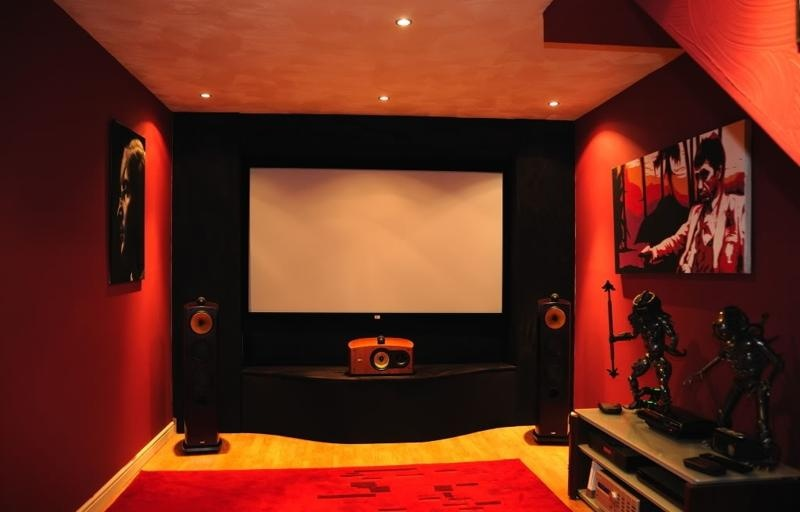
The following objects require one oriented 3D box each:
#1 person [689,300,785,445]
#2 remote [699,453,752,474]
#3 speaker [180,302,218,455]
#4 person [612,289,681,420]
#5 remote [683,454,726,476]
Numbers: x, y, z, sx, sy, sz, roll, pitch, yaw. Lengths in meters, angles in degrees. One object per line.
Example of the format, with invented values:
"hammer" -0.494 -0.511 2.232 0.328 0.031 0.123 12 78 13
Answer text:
"person" 2.257 0.747 4.016 0.501 0.833 0.367 10 15 40
"remote" 2.072 1.299 3.822 0.190 0.044 0.104 6 3 24
"speaker" -1.695 1.016 5.125 0.329 1.280 0.283 -3 11 -15
"person" 1.899 0.744 4.598 0.511 0.991 0.594 11 15 43
"remote" 1.891 1.309 3.782 0.110 0.037 0.142 0 0 -14
